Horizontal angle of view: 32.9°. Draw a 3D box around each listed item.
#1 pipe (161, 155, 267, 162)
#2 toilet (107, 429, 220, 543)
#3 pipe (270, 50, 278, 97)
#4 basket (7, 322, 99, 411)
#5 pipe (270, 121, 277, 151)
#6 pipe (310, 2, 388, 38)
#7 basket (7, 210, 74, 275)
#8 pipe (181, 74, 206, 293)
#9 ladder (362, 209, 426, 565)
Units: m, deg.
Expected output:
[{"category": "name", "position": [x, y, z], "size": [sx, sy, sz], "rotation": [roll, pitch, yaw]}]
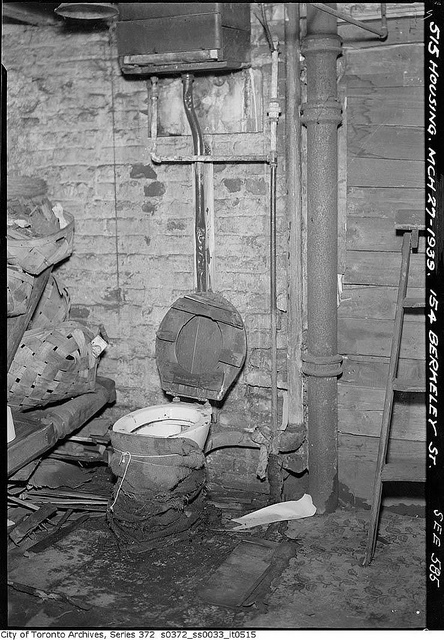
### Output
[{"category": "pipe", "position": [-0.052, -0.730, 3.420], "size": [0.550, 0.039, 0.093], "rotation": [5, 11, 29]}, {"category": "toilet", "position": [-0.247, 0.640, 3.158], "size": [0.409, 0.469, 0.338], "rotation": [-4, 8, -18]}, {"category": "pipe", "position": [0.225, -1.059, 3.254], "size": [0.030, 0.195, 0.056], "rotation": [-1, 8, -4]}, {"category": "basket", "position": [-0.760, 0.192, 3.412], "size": [0.344, 0.363, 0.124], "rotation": [-13, 28, -42]}, {"category": "pipe", "position": [0.222, -0.794, 3.259], "size": [0.024, 0.125, 0.039], "rotation": [-1, 8, -4]}, {"category": "pipe", "position": [0.496, -1.180, 2.935], "size": [0.240, 0.124, 0.355], "rotation": [4, 10, 23]}, {"category": "basket", "position": [-0.839, -0.362, 3.420], "size": [0.272, 0.175, 0.373], "rotation": [-2, 8, -4]}, {"category": "pipe", "position": [-0.129, -0.622, 3.485], "size": [0.105, 0.988, 0.046], "rotation": [3, 9, 25]}, {"category": "ladder", "position": [0.687, 0.240, 2.971], "size": [0.217, 1.321, 0.624], "rotation": [1, 9, 14]}]
